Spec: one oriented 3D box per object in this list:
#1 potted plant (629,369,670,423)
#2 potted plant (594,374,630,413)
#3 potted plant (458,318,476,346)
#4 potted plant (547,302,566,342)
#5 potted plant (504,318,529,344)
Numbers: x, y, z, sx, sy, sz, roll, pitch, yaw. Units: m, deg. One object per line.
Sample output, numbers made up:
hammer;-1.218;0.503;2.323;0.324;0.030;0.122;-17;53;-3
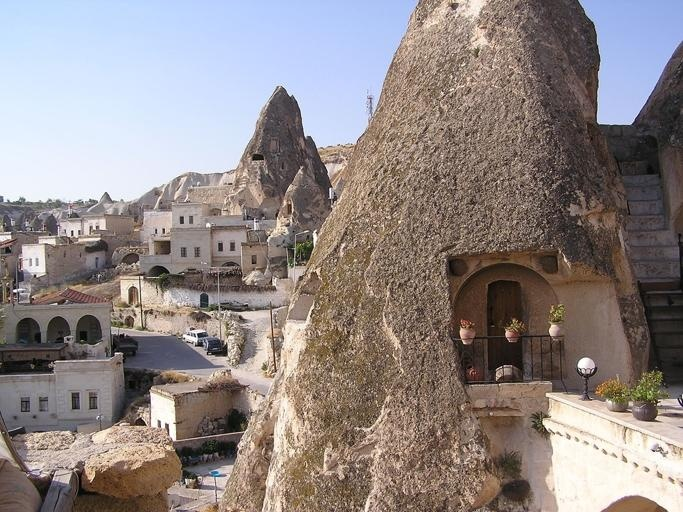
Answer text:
potted plant;4.709;2.148;10.368;0.426;0.748;0.506;6;-8;-22
potted plant;4.329;2.146;10.718;0.496;0.509;0.499;-6;-1;45
potted plant;2.129;1.278;11.459;0.244;0.420;0.308;-2;-9;10
potted plant;3.727;1.133;11.691;0.295;0.631;0.401;-4;-9;22
potted plant;2.953;1.266;11.815;0.449;0.524;0.431;3;-1;39
